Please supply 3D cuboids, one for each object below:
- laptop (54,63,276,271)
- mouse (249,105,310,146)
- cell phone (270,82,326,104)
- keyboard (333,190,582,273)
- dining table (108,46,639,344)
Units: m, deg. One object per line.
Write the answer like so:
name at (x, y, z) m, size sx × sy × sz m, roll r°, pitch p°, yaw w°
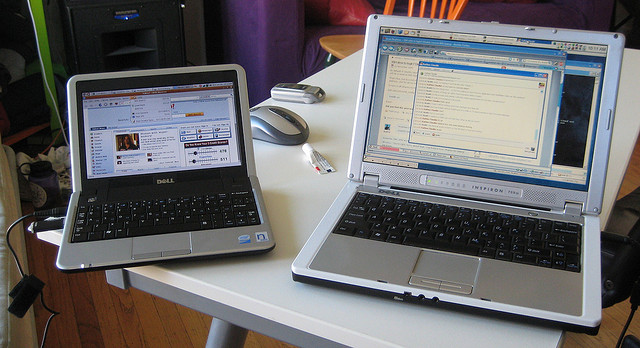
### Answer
laptop at (-0.429, -0.013, 1.321) m, size 0.574 × 0.291 × 0.450 m, roll -2°, pitch 42°, yaw -11°
mouse at (-0.152, -0.194, 1.715) m, size 0.178 × 0.084 × 0.279 m, roll -28°, pitch 34°, yaw -29°
cell phone at (-0.078, -0.317, 1.852) m, size 0.169 × 0.037 × 0.087 m, roll 4°, pitch 26°, yaw 7°
keyboard at (0.384, 0.157, 1.332) m, size 0.664 × 0.117 × 0.136 m, roll 4°, pitch 23°, yaw 9°
dining table at (0.234, 0.249, 1.875) m, size 1.331 × 0.789 × 1.322 m, roll 16°, pitch 49°, yaw 16°
